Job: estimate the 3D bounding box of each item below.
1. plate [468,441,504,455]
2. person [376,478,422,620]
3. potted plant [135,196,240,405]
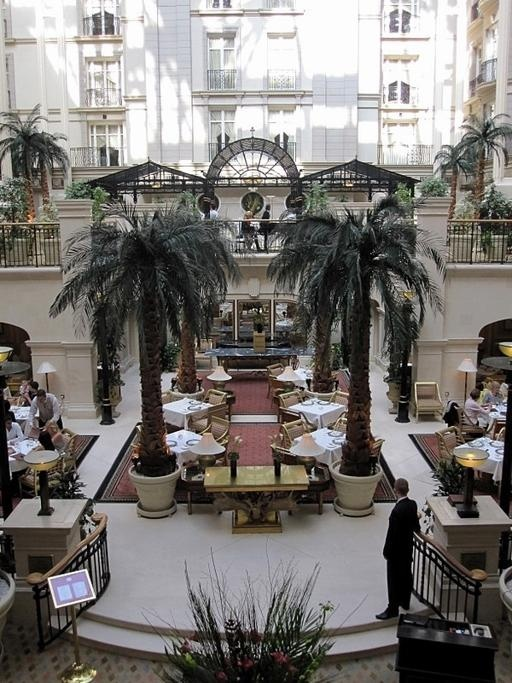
[{"bbox_3d":[3.789,1.667,8.450,0.289,0.102,0.416,2,21,2],"label":"plate"},{"bbox_3d":[1.420,2.027,5.186,0.294,1.411,0.468,6,10,32],"label":"person"},{"bbox_3d":[-1.353,-0.509,8.485,1.130,3.580,3.188,1,8,3],"label":"potted plant"}]
